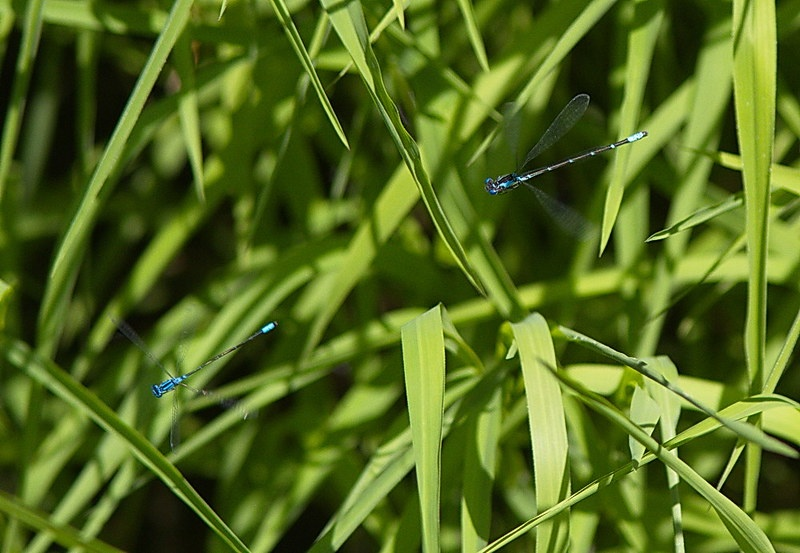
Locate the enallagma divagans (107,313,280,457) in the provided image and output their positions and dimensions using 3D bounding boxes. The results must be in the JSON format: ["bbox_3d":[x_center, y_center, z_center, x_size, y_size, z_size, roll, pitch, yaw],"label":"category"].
[{"bbox_3d":[-0.333,0.089,1.359,0.183,0.167,0.274,-8,-77,-16],"label":"enallagma divagans"}]
